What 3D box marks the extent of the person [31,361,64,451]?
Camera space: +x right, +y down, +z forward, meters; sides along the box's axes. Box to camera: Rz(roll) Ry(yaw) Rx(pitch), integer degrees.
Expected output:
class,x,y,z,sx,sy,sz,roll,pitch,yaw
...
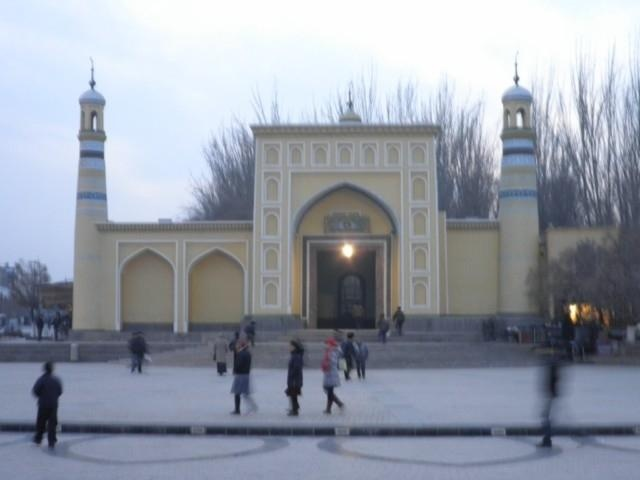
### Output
class,x,y,z,sx,sy,sz,roll,pitch,yaw
person,-5.288,3.207,22.718,0.566,1.641,0.453,-2,-4,26

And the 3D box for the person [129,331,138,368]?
class,x,y,z,sx,sy,sz,roll,pitch,yaw
person,-5.124,3.112,32.273,0.239,1.053,0.711,1,-4,-9

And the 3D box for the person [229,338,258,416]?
class,x,y,z,sx,sy,sz,roll,pitch,yaw
person,-1.634,2.935,25.181,0.523,1.551,1.247,0,-4,-3

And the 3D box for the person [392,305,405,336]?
class,x,y,z,sx,sy,sz,roll,pitch,yaw
person,2.584,2.600,37.786,0.370,0.956,0.952,0,-4,3

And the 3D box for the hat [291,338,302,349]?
class,x,y,z,sx,sy,sz,roll,pitch,yaw
hat,-0.486,2.210,24.943,0.204,0.213,0.160,9,-4,3

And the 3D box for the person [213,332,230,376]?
class,x,y,z,sx,sy,sz,roll,pitch,yaw
person,-2.671,3.110,31.651,0.347,1.090,0.771,0,-4,-6
